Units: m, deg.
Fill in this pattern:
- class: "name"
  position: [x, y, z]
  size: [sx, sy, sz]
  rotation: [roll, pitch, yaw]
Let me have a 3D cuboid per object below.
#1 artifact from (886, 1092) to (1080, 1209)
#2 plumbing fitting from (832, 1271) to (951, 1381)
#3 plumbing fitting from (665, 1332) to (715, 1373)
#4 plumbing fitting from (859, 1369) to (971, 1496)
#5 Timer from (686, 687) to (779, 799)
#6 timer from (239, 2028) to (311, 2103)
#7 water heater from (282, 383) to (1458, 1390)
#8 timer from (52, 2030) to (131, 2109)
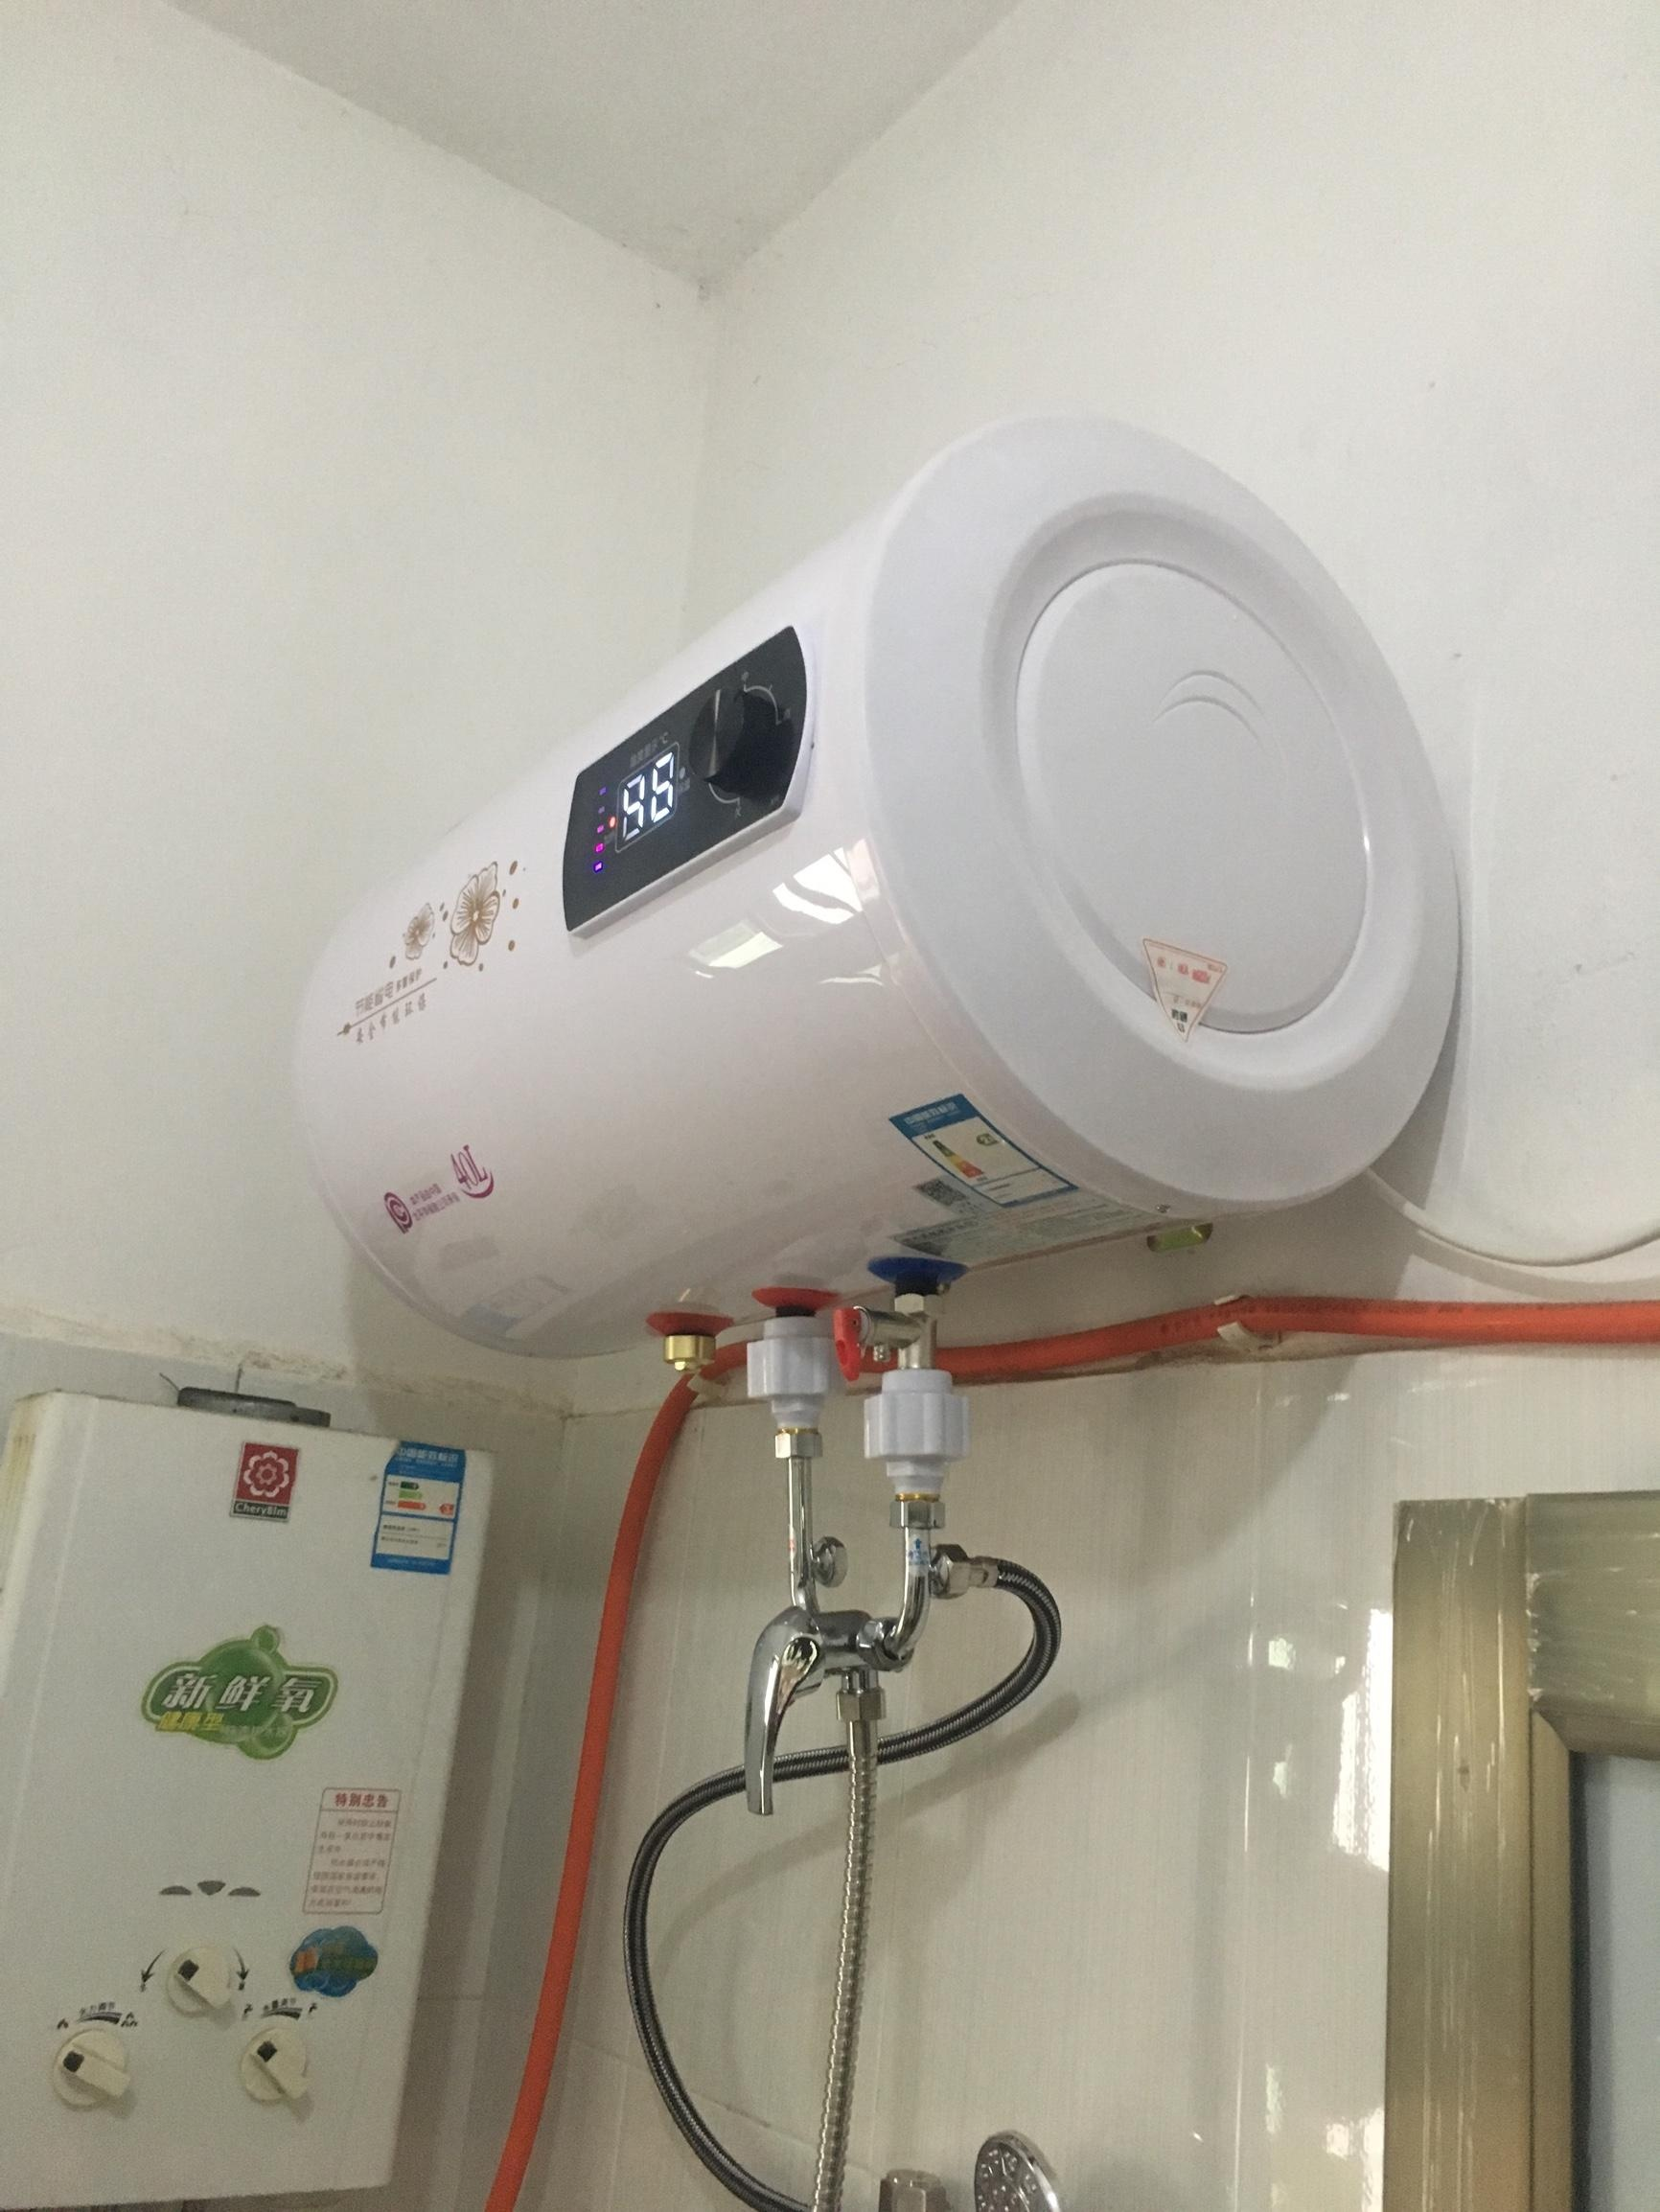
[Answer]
- class: "artifact"
  position: [0.069, 0.021, 0.930]
  size: [0.073, 0.029, 0.052]
  rotation: [16, -22, -37]
- class: "plumbing fitting"
  position: [0.032, 0.113, 1.095]
  size: [0.075, 0.054, 0.052]
  rotation: [6, -13, -28]
- class: "plumbing fitting"
  position: [-0.081, 0.143, 1.234]
  size: [0.034, 0.020, 0.030]
  rotation: [-3, -15, 8]
- class: "plumbing fitting"
  position: [0.044, 0.164, 1.074]
  size: [0.072, 0.064, 0.058]
  rotation: [0, -6, -25]
- class: "Timer"
  position: [-0.038, -0.160, 0.959]
  size: [0.013, 0.047, 0.054]
  rotation: [13, -18, -41]
- class: "timer"
  position: [-0.346, 0.595, 1.318]
  size: [0.017, 0.048, 0.039]
  rotation: [-11, -23, 35]
- class: "water heater"
  position: [-0.035, -0.060, 1.176]
  size: [0.376, 0.314, 0.597]
  rotation: [31, -35, -33]
- class: "timer"
  position: [-0.436, 0.568, 1.252]
  size: [0.046, 0.045, 0.011]
  rotation: [20, -25, -40]
